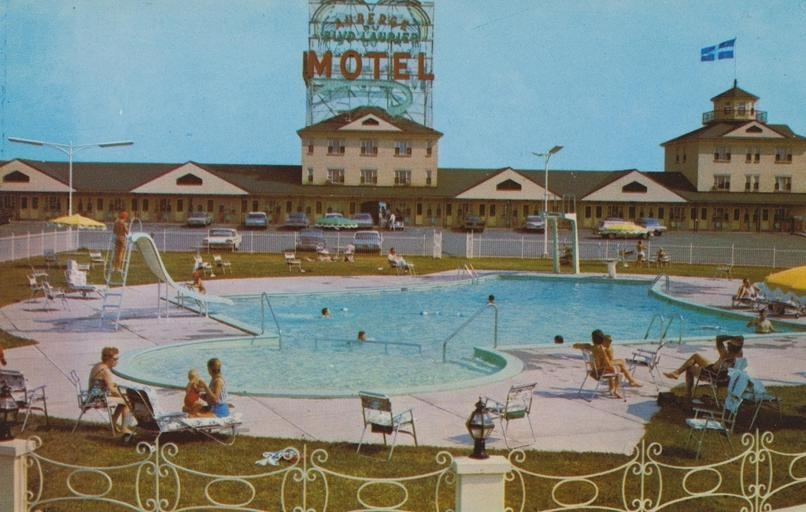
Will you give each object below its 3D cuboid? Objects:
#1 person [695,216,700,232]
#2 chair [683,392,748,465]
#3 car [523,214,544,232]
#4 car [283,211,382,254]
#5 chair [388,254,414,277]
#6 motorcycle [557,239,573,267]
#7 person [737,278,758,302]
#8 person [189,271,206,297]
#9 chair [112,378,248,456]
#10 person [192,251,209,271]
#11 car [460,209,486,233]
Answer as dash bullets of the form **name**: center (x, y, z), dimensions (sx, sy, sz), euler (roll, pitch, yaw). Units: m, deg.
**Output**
- **person**: center (24.157, -2.540, 102.160), dimensions (0.591, 0.961, 0.257), euler (0, 1, -41)
- **chair**: center (10.563, 5.796, 41.908), dimensions (2.155, 2.649, 1.969), euler (0, -2, -1)
- **car**: center (10.212, -2.403, 96.620), dimensions (1.406, 1.088, 3.326), euler (-1, -2, -2)
- **car**: center (-4.599, -1.074, 89.905), dimensions (5.284, 1.501, 3.649), euler (0, 9, 3)
- **chair**: center (-0.141, 0.505, 67.176), dimensions (0.786, 0.786, 1.555), euler (-4, 5, -41)
- **motorcycle**: center (9.803, 0.104, 74.478), dimensions (0.759, 1.068, 2.443), euler (-1, 0, 7)
- **person**: center (16.012, 1.662, 57.527), dimensions (1.090, 1.149, 1.080), euler (-3, 6, -6)
- **person**: center (-9.378, 1.342, 56.975), dimensions (0.473, 0.913, 1.524), euler (9, 15, -23)
- **chair**: center (-7.356, 5.358, 41.745), dimensions (3.247, 1.564, 2.149), euler (0, 3, -23)
- **person**: center (-10.986, 0.335, 67.859), dimensions (0.963, 1.265, 0.952), euler (-1, -1, -9)
- **car**: center (5.342, -2.342, 93.942), dimensions (1.214, 1.260, 2.219), euler (0, 1, -18)
